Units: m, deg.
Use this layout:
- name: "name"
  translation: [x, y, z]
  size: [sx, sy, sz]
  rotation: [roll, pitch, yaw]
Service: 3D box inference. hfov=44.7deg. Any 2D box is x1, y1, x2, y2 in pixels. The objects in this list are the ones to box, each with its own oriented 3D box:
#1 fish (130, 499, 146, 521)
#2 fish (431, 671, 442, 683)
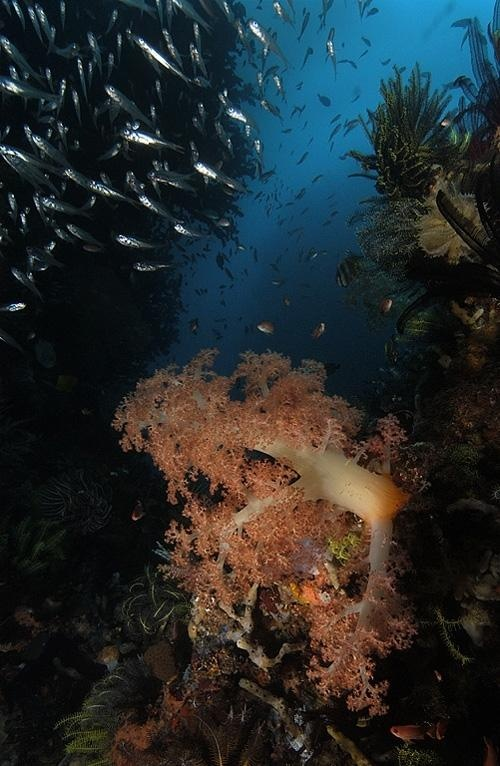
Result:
- name: "fish"
  translation: [-2.445, 2.823, 13.415]
  size: [0.276, 0.068, 0.489]
  rotation: [1, 46, 3]
- name: "fish"
  translation: [2.642, 4.124, 8.560]
  size: [0.098, 0.035, 0.146]
  rotation: [-16, 69, 29]
